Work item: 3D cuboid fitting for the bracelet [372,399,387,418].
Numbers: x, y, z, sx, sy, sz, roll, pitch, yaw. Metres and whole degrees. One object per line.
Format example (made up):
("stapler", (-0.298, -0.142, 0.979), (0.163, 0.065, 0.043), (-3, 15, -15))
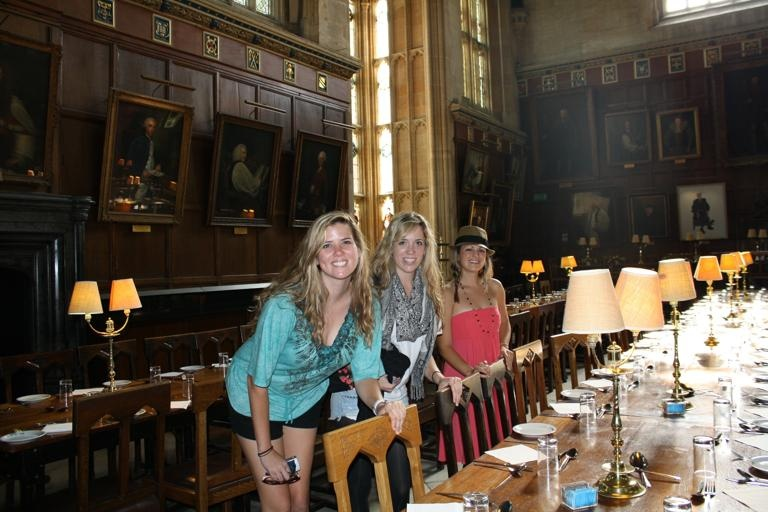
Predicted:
("bracelet", (-0.025, 0.949, 3.327), (0.055, 0.117, 0.084), (15, -9, -13))

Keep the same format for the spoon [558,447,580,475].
("spoon", (1.125, 1.202, 3.222), (0.057, 0.051, 0.303), (11, 24, 26))

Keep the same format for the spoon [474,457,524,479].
("spoon", (0.693, 1.269, 3.176), (0.287, 0.056, 0.098), (0, 17, 30))

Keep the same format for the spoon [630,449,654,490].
("spoon", (1.420, 1.217, 2.924), (0.098, 0.061, 0.368), (-5, 8, 20))

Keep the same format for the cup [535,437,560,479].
("cup", (0.927, 1.125, 2.983), (0.111, 0.235, 0.154), (-3, -1, 14))

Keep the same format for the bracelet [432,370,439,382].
("bracelet", (0.402, 0.914, 3.998), (0.051, 0.075, 0.025), (0, 0, -38))

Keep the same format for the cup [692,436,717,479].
("cup", (1.687, 1.047, 2.788), (0.097, 0.235, 0.156), (-4, -1, 30))

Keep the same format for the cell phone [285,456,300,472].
("cell phone", (-0.565, 1.330, 3.346), (0.084, 0.088, 0.069), (-3, -2, -31))

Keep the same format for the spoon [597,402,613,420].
("spoon", (1.635, 1.140, 3.914), (0.056, 0.048, 0.258), (5, 3, 22))

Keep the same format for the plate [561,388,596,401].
("plate", (1.495, 1.066, 4.045), (0.190, 0.030, 0.200), (-4, 3, -2))

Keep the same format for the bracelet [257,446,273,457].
("bracelet", (-0.726, 1.214, 3.305), (0.064, 0.065, 0.019), (-5, -38, -13))

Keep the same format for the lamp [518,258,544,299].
("lamp", (4.123, 0.680, 14.671), (0.492, 1.672, 1.020), (-3, -4, 28))
